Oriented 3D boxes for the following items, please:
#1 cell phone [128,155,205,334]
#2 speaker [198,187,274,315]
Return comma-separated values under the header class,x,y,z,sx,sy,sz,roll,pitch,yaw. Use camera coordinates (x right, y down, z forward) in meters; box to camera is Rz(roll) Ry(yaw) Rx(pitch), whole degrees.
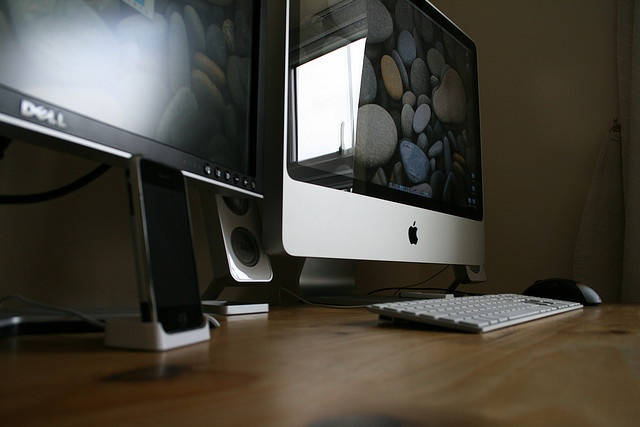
class,x,y,z,sx,sy,sz,roll,pitch,yaw
cell phone,-0.221,0.049,0.702,0.020,0.244,0.129,-11,-8,14
speaker,-0.198,0.061,1.060,0.150,0.303,0.158,-2,-11,16
